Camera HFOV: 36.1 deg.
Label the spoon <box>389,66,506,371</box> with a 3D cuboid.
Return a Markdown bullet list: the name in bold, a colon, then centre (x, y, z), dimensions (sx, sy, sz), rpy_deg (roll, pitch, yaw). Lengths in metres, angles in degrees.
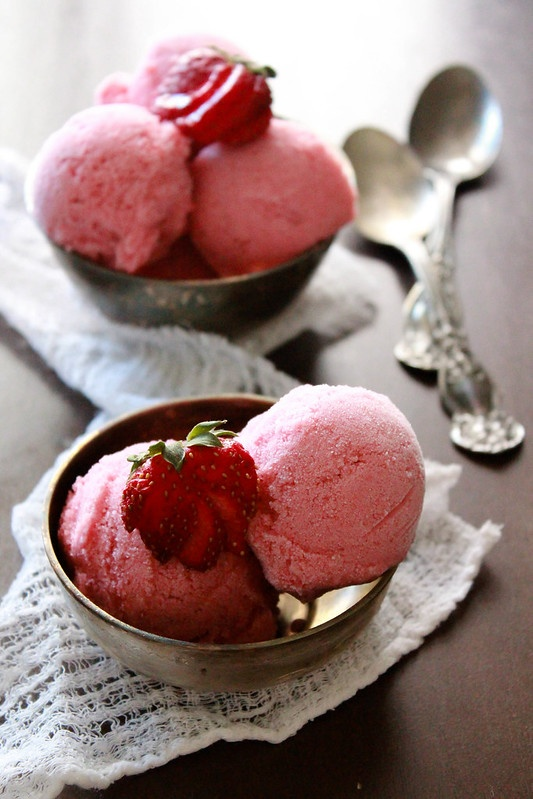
- **spoon**: centre (0.276, -0.309, 1.203), dimensions (0.140, 0.089, 0.607), rpy_deg (11, 60, -1)

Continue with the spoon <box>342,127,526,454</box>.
- **spoon**: centre (0.206, -0.162, 1.134), dimensions (0.120, 0.087, 0.599), rpy_deg (-5, 52, -4)

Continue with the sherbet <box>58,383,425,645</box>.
- **sherbet**: centre (-0.021, 0.111, 0.693), dimensions (0.294, 0.133, 0.182), rpy_deg (-10, 13, 14)
